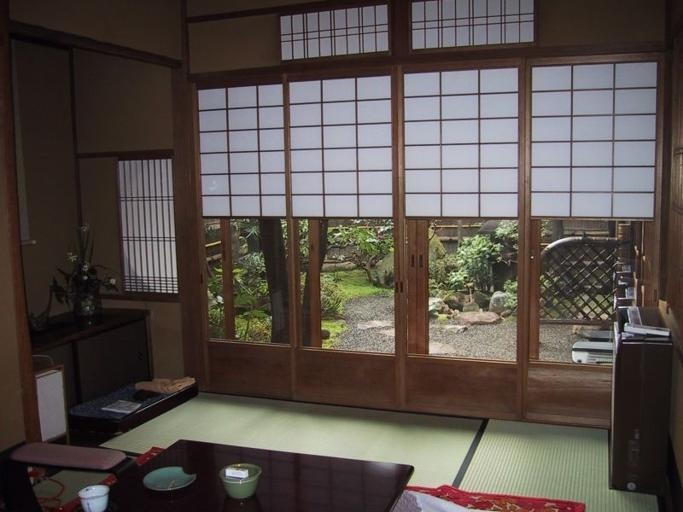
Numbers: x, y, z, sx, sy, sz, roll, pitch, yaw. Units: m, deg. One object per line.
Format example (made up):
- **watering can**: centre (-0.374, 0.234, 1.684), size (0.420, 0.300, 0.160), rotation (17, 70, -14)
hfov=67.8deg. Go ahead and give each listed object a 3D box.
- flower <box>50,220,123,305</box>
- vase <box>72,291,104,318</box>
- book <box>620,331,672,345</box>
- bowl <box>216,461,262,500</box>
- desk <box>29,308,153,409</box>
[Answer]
- **flower**: centre (-2.540, 0.027, 5.144), size (0.813, 1.075, 0.782), rotation (0, 10, -28)
- **vase**: centre (-2.427, 0.452, 4.904), size (0.243, 0.249, 0.247), rotation (0, -1, 16)
- **book**: centre (1.941, 0.525, 3.250), size (0.287, 0.047, 0.115), rotation (2, 10, 24)
- **bowl**: centre (-0.527, 1.169, 2.659), size (0.209, 0.105, 0.207), rotation (0, -1, 0)
- **desk**: centre (-2.426, 0.712, 4.768), size (0.680, 0.979, 1.038), rotation (3, 9, 27)
